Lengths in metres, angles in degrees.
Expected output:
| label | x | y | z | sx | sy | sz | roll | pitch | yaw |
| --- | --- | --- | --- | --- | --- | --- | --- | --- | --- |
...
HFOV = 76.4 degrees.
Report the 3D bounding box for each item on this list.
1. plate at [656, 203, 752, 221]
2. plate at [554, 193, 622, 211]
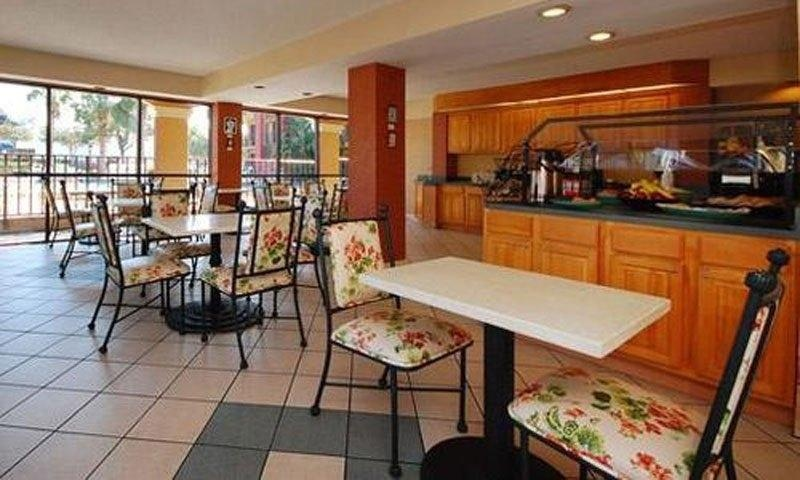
| label | x | y | z | sx | sy | sz | roll | pitch | yaw |
| --- | --- | --- | --- | --- | --- | --- | --- | --- | --- |
| plate | 2.468 | -0.227 | 4.177 | 0.680 | 0.096 | 0.167 | 6 | 14 | 31 |
| plate | 1.708 | -0.345 | 4.696 | 0.582 | 0.130 | 0.248 | 4 | 13 | 24 |
